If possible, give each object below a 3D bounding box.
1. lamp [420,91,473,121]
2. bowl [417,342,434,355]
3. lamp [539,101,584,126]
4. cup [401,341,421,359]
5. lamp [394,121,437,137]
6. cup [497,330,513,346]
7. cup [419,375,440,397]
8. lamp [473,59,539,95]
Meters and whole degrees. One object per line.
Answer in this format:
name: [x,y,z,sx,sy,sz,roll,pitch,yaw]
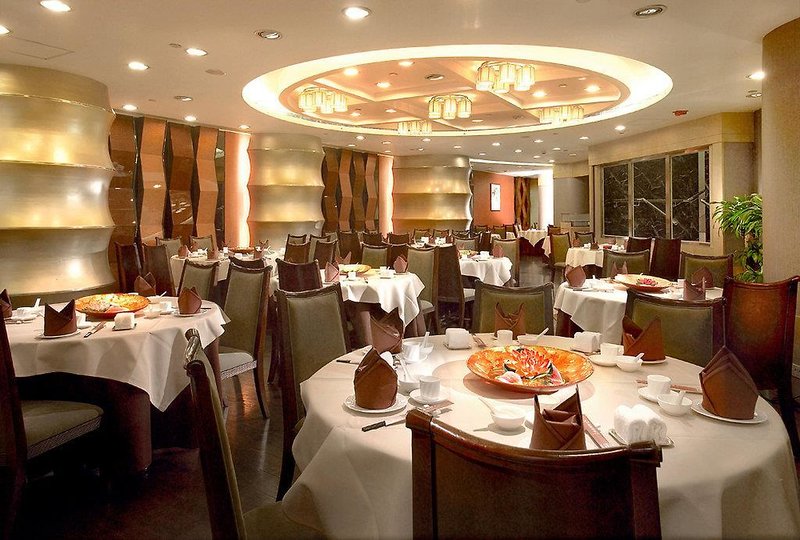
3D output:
lamp: [0.799,-2.661,8.833,0.625,0.407,0.491,-3,6,-9]
bowl: [0.142,0.423,2.925,0.059,0.041,0.061,-2,0,0]
lamp: [2.983,-2.754,9.750,0.785,0.285,1.149,2,8,35]
cup: [0.063,0.429,2.849,0.067,0.063,0.084,0,-2,-7]
lamp: [0.276,-2.828,10.799,0.612,0.228,0.471,-4,6,-14]
cup: [0.584,0.372,2.998,0.078,0.079,0.080,0,5,0]
cup: [0.136,0.535,2.507,0.068,0.065,0.089,-1,7,0]
lamp: [1.349,-2.542,7.087,0.735,0.370,0.590,4,9,45]
